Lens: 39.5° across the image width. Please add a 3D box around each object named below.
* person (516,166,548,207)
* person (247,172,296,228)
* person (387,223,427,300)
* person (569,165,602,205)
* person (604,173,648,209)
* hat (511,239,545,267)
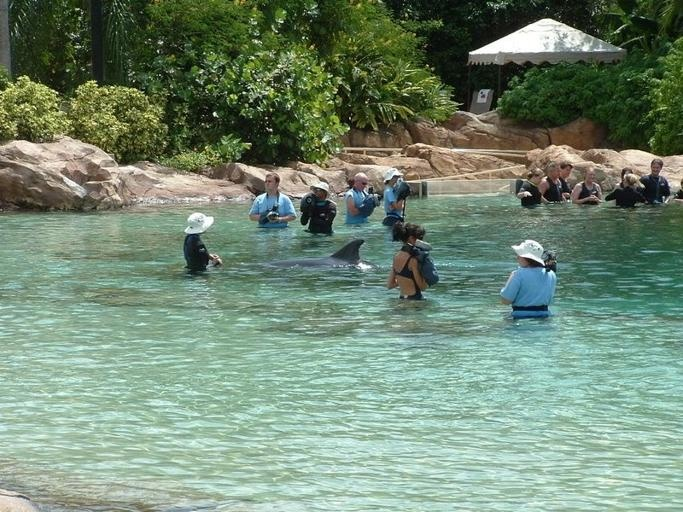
[{"bbox_3d":[4.738,-1.659,23.457,0.590,0.931,0.981,3,13,12],"label":"person"},{"bbox_3d":[-1.371,-1.063,18.523,0.876,1.160,1.184,-1,13,-6],"label":"person"},{"bbox_3d":[0.832,0.064,11.744,0.493,1.019,0.792,1,13,3],"label":"person"},{"bbox_3d":[6.186,-1.732,23.712,0.708,0.921,0.936,3,13,11],"label":"person"},{"bbox_3d":[7.021,-1.605,23.183,0.755,0.822,1.188,5,13,22],"label":"person"},{"bbox_3d":[2.114,-0.038,10.536,0.319,0.305,0.403,3,13,13],"label":"hat"}]
